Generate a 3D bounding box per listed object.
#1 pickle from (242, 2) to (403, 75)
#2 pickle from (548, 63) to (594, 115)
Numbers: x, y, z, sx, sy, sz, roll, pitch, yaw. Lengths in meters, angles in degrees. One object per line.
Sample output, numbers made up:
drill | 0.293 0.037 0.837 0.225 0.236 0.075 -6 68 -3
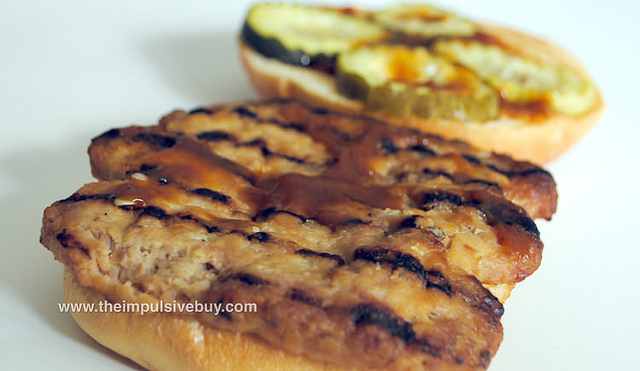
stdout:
pickle | 0.001 -0.431 2.232 0.421 0.096 0.197 11 54 -5
pickle | 0.722 -0.263 2.234 0.090 0.089 0.197 4 93 31
